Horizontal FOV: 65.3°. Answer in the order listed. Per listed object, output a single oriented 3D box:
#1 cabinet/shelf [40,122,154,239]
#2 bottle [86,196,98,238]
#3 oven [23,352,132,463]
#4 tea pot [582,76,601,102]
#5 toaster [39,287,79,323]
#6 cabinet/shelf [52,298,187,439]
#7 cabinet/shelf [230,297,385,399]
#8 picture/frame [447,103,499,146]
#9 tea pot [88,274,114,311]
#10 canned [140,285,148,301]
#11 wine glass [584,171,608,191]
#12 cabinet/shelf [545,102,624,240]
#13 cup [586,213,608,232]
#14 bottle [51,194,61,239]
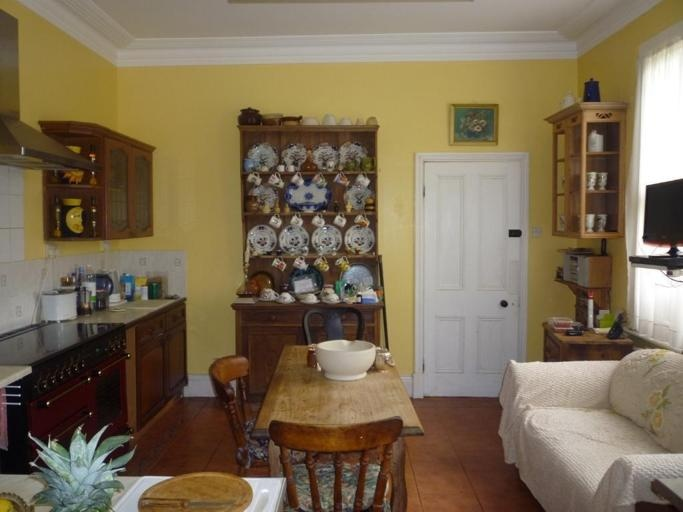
[{"bbox_3d":[-2.208,-0.619,4.977,0.459,0.992,1.547,1,6,0],"label":"cabinet/shelf"},{"bbox_3d":[-2.119,-0.328,4.523,0.085,0.324,0.088,0,10,0],"label":"bottle"},{"bbox_3d":[-1.894,0.975,3.738,0.556,0.654,1.007,-1,-1,3],"label":"oven"},{"bbox_3d":[2.233,-1.465,4.732,0.128,0.208,0.146,5,11,25],"label":"tea pot"},{"bbox_3d":[-2.364,0.408,4.365,0.167,0.217,0.290,-2,4,-24],"label":"toaster"},{"bbox_3d":[-1.991,0.642,5.024,0.782,1.482,1.569,-1,2,-1],"label":"cabinet/shelf"},{"bbox_3d":[-0.331,0.930,5.301,1.332,1.203,0.462,0,21,-2],"label":"cabinet/shelf"},{"bbox_3d":[1.349,-1.329,5.360,0.391,0.348,0.031,-1,3,2],"label":"picture/frame"},{"bbox_3d":[-2.225,0.327,4.868,0.186,0.313,0.297,2,0,-30],"label":"tea pot"},{"bbox_3d":[-1.945,0.361,5.261,0.053,0.121,0.102,1,11,9],"label":"canned"},{"bbox_3d":[2.227,-0.643,4.641,0.174,0.153,0.058,-2,10,-9],"label":"wine glass"},{"bbox_3d":[2.192,-0.745,4.763,0.709,1.179,0.504,8,13,37],"label":"cabinet/shelf"},{"bbox_3d":[2.233,-0.283,4.663,0.187,0.155,0.079,-1,10,-5],"label":"cup"},{"bbox_3d":[-2.372,-0.315,4.441,0.056,0.321,0.113,-3,11,-13],"label":"bottle"}]
